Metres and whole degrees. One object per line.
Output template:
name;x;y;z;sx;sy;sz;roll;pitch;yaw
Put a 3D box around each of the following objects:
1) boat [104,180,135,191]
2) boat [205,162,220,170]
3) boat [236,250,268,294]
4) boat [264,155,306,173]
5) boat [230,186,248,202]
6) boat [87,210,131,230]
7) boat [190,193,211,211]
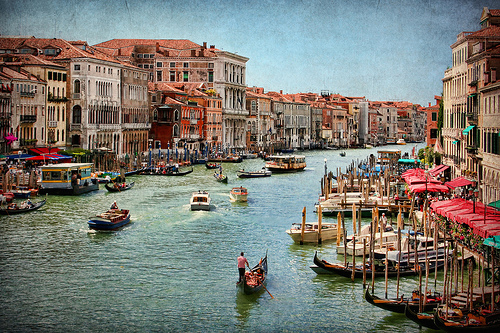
boat;-14.443;2.149;69.007;1.229;1.172;5.187;3;-1;22
boat;-5.930;-0.085;99.342;1.062;1.208;3.747;1;-3;23
boat;0.345;6.503;35.928;0.762;1.032;3.232;6;12;12
boat;5.940;-0.486;98.142;6.219;2.000;2.886;-4;6;-43
boat;-1.131;2.866;62.365;1.618;1.381;1.424;-1;1;-8
boat;-11.185;4.198;48.504;1.829;1.427;3.132;0;1;19
boat;-4.612;3.259;56.337;1.828;1.465;2.015;-1;1;-1
